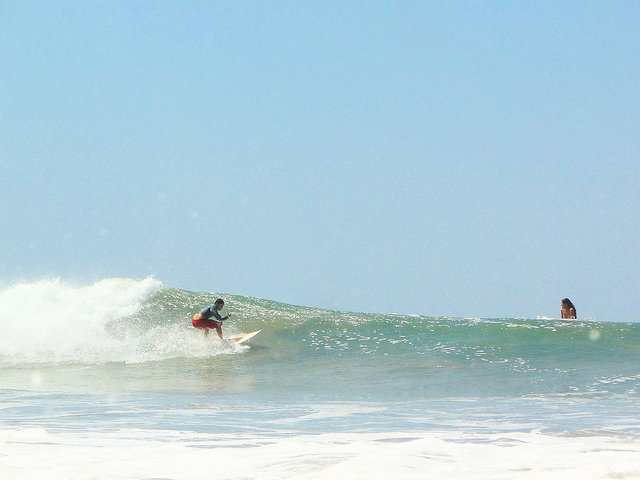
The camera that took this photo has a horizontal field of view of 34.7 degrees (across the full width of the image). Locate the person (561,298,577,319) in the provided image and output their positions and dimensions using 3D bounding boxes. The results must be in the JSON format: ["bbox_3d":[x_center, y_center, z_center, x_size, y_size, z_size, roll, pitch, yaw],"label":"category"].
[{"bbox_3d":[6.464,1.798,26.920,0.331,0.510,0.756,1,3,13],"label":"person"}]

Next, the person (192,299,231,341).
[{"bbox_3d":[-2.675,1.992,25.315,0.904,1.178,0.609,6,11,4],"label":"person"}]
